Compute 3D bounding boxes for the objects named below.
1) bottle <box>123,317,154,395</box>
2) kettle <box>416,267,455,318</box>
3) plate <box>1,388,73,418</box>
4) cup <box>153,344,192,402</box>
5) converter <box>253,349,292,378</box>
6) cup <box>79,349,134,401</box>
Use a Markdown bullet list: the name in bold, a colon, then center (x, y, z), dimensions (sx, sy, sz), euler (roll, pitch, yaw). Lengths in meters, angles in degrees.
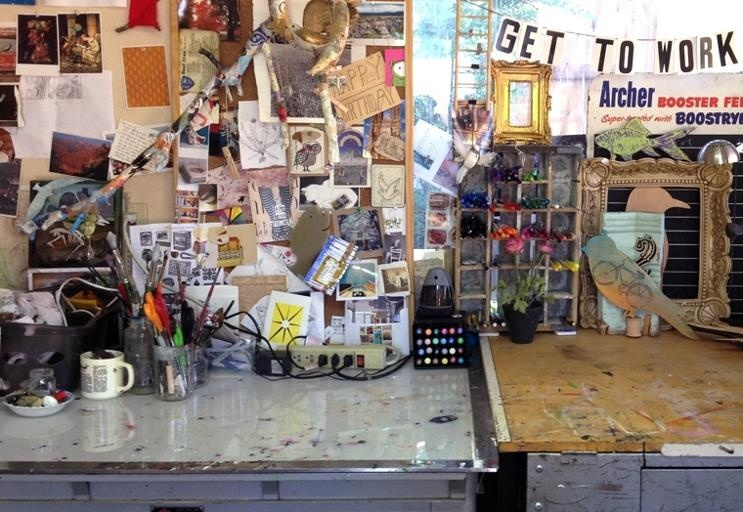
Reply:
- **bottle**: center (-0.832, 0.361, 2.470), dimensions (0.107, 0.263, 0.128), euler (0, 1, 4)
- **kettle**: center (0.262, 0.156, 2.739), dimensions (0.145, 0.194, 0.175), euler (1, 14, -2)
- **plate**: center (-1.117, 0.478, 2.402), dimensions (0.237, 0.075, 0.276), euler (-3, 10, -16)
- **cup**: center (-0.709, 0.424, 2.473), dimensions (0.146, 0.221, 0.136), euler (-4, -6, 0)
- **converter**: center (-0.371, 0.413, 2.586), dimensions (0.109, 0.067, 0.107), euler (2, 5, 1)
- **cup**: center (-0.930, 0.423, 2.421), dimensions (0.212, 0.147, 0.133), euler (4, 3, 14)
